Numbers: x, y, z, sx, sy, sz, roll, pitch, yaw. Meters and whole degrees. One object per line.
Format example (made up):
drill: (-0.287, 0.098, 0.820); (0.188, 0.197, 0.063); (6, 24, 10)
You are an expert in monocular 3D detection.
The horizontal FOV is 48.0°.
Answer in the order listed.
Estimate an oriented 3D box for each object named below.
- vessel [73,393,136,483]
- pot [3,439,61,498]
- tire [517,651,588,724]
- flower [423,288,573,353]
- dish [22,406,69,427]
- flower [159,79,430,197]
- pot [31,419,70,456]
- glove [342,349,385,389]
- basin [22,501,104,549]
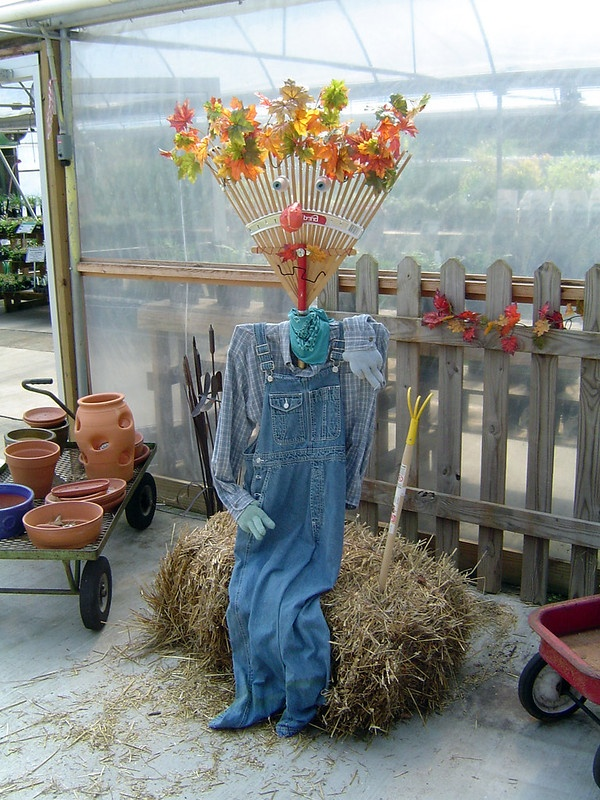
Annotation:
vessel: (-0.941, 0.199, 3.166); (0.300, 0.406, 0.303); (2, 8, 34)
pot: (-1.178, 0.288, 3.049); (0.252, 0.246, 0.261); (-1, 10, 0)
tire: (0.750, 0.841, 2.030); (0.072, 0.194, 0.211); (34, 26, -12)
flower: (0.737, -0.309, 2.620); (0.538, 0.205, 0.163); (14, 1, 31)
dish: (-1.319, 0.088, 3.497); (0.156, 0.044, 0.154); (6, 18, 10)
flower: (-0.016, -0.662, 1.860); (0.836, 0.315, 0.274); (1, 4, 9)
pot: (-1.281, 0.199, 3.463); (0.161, 0.129, 0.167); (1, 5, 0)
glove: (0.187, -0.100, 1.962); (0.119, 0.115, 0.056); (11, 27, 19)
basin: (-0.897, 0.473, 2.570); (0.206, 0.077, 0.209); (1, 0, 0)
